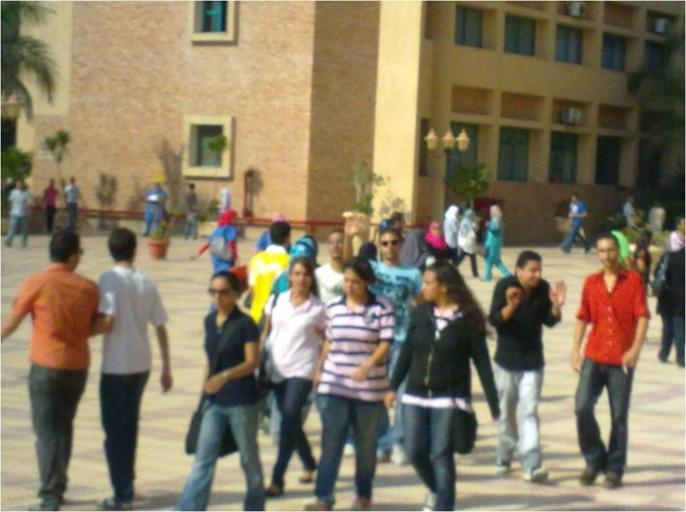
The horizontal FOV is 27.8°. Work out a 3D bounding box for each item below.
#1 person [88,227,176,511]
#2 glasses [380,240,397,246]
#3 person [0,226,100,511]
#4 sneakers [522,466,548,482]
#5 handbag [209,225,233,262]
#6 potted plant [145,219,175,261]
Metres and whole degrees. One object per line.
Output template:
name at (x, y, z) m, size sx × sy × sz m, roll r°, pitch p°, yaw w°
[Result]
person at (-3.549, 1.857, 22.855) m, size 1.108 × 4.635 × 0.447 m, roll 0°, pitch 3°, yaw -13°
glasses at (0.775, -0.246, 23.808) m, size 0.265 × 0.097 × 0.049 m, roll 1°, pitch 3°, yaw 0°
person at (-4.690, 1.872, 22.724) m, size 1.271 × 4.538 × 0.404 m, roll -1°, pitch 3°, yaw -23°
sneakers at (3.261, 3.712, 23.600) m, size 0.378 × 0.290 × 0.208 m, roll -29°, pitch -27°, yaw 36°
handbag at (-2.508, -0.284, 28.442) m, size 0.386 × 0.847 × 0.652 m, roll 12°, pitch -14°, yaw -37°
potted plant at (-4.965, -0.504, 37.343) m, size 0.525 × 1.098 × 0.562 m, roll 6°, pitch 4°, yaw 15°
